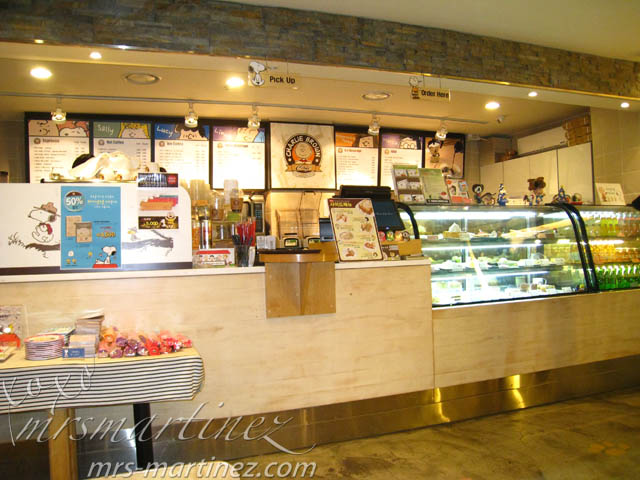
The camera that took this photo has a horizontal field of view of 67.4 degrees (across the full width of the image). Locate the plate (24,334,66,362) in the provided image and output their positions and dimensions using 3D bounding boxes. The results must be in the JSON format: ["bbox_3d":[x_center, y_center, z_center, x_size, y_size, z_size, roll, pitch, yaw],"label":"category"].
[{"bbox_3d":[-1.640,0.648,2.855,0.158,0.066,0.164,1,3,-5],"label":"plate"}]

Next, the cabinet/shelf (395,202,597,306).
[{"bbox_3d":[1.798,0.103,4.690,1.812,0.858,0.515,-3,9,-18],"label":"cabinet/shelf"}]
